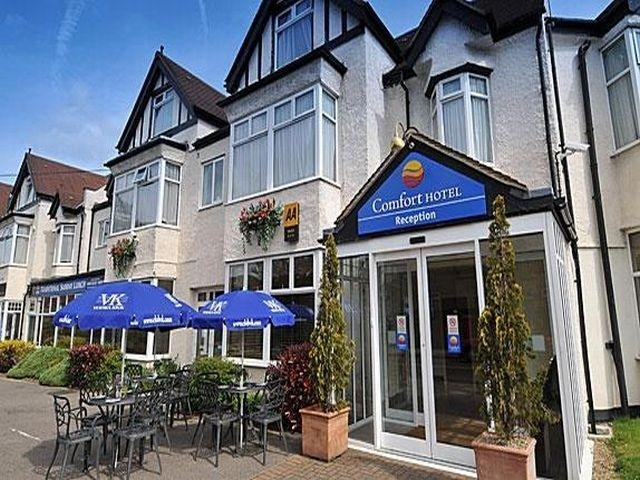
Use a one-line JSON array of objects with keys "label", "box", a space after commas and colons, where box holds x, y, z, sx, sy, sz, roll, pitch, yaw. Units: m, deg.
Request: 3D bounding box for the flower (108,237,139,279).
[{"label": "flower", "box": [-7.299, 0.667, 17.616, 1.254, 1.684, 0.399, 2, 6, 32]}]

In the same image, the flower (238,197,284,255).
[{"label": "flower", "box": [-1.749, -0.421, 14.184, 1.473, 1.643, 0.520, 3, 7, 37]}]

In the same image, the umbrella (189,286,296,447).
[{"label": "umbrella", "box": [-1.869, 3.236, 12.199, 2.697, 4.399, 3.069, 0, -14, -4]}]
